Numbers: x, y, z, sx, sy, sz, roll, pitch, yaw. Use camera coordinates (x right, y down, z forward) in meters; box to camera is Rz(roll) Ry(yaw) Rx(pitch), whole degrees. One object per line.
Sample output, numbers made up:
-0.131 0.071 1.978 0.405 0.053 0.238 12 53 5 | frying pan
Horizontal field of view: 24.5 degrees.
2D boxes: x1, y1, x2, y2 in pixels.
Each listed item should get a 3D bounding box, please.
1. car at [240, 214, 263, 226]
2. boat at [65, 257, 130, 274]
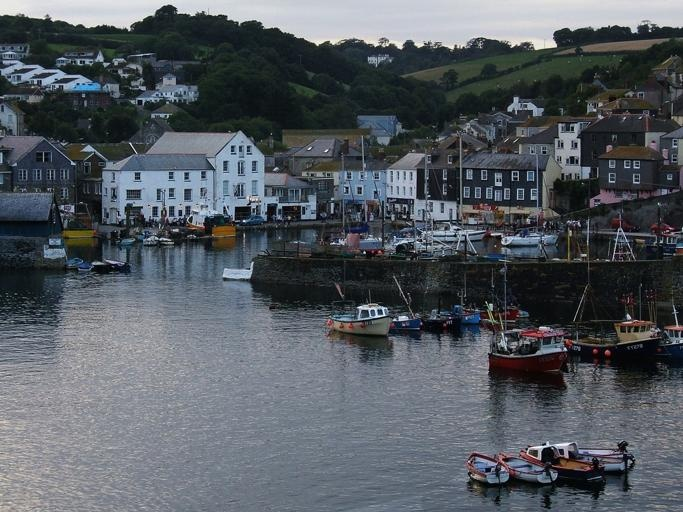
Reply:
-8.536 -3.276 152.345 1.309 0.963 2.790 1 2 36 | car
-19.417 0.933 125.526 5.434 1.049 2.804 0 1 20 | boat
